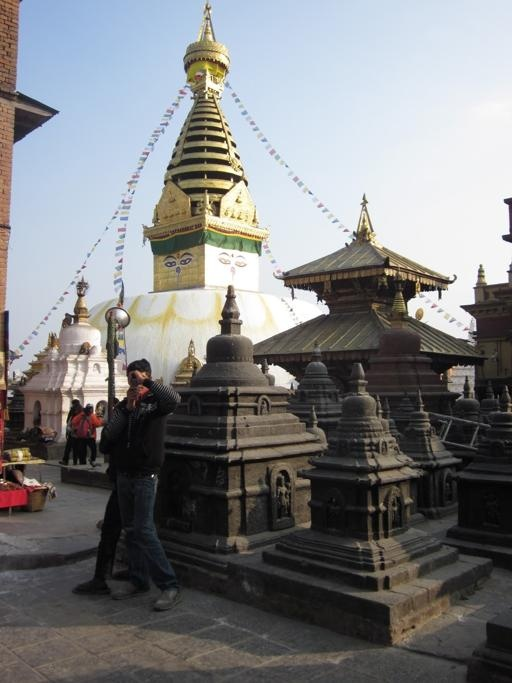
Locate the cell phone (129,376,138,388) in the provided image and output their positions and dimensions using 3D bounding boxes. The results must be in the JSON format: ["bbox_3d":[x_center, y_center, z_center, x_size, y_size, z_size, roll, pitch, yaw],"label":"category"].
[{"bbox_3d":[-0.817,0.274,5.015,0.069,0.049,0.027,14,2,41],"label":"cell phone"}]

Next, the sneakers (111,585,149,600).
[{"bbox_3d":[-0.870,1.727,5.183,0.265,0.107,0.093,12,-15,-25],"label":"sneakers"}]

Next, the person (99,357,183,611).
[{"bbox_3d":[-0.755,0.959,5.104,0.456,1.652,0.586,-2,3,-26],"label":"person"}]

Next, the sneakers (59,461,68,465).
[{"bbox_3d":[-3.227,2.046,12.573,0.074,0.091,0.222,2,-4,-36],"label":"sneakers"}]

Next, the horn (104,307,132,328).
[{"bbox_3d":[-1.770,-0.279,9.825,0.299,0.284,0.101,2,27,8],"label":"horn"}]

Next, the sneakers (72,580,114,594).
[{"bbox_3d":[-1.143,1.718,5.191,0.205,0.084,0.107,9,-22,1],"label":"sneakers"}]

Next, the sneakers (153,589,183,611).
[{"bbox_3d":[-0.595,1.722,5.002,0.161,0.116,0.247,0,3,-3],"label":"sneakers"}]

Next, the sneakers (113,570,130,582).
[{"bbox_3d":[-0.994,1.747,5.581,0.162,0.053,0.177,3,-7,-10],"label":"sneakers"}]

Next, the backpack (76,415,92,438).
[{"bbox_3d":[-2.734,1.368,11.947,0.223,0.403,0.372,-4,-5,25],"label":"backpack"}]
